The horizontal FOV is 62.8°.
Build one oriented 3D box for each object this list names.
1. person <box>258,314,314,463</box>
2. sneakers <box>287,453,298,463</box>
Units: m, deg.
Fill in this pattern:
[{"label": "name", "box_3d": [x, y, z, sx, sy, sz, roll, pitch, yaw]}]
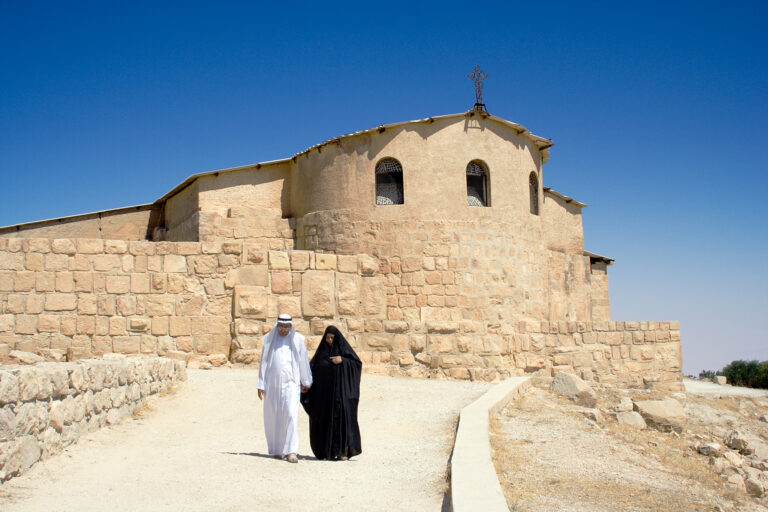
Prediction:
[{"label": "person", "box_3d": [-1.511, 1.992, 9.587, 1.030, 1.602, 0.723, 7, 2, 43]}, {"label": "sneakers", "box_3d": [-1.337, 2.944, 9.147, 0.161, 0.097, 0.117, 5, 1, -13]}]
